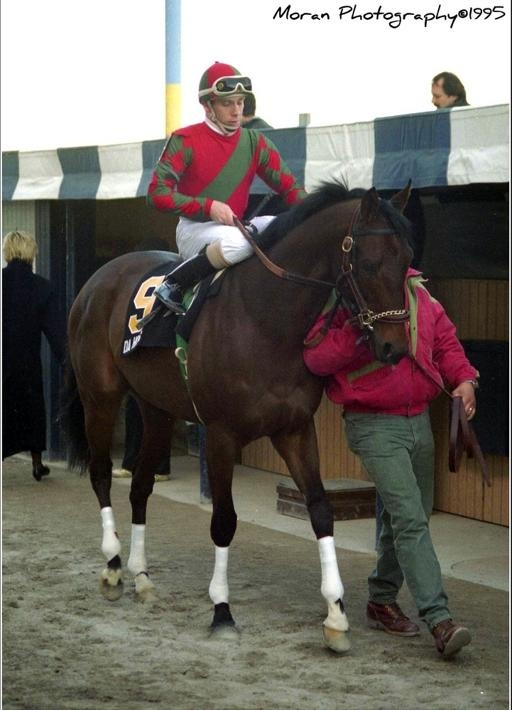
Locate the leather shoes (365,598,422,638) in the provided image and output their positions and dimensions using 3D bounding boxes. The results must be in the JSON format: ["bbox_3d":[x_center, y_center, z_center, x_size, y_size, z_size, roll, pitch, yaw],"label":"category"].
[{"bbox_3d":[0.519,1.022,3.156,0.217,0.097,0.081,4,5,43],"label":"leather shoes"}]

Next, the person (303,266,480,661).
[{"bbox_3d":[0.478,0.373,2.885,0.592,1.380,0.650,0,1,13],"label":"person"}]

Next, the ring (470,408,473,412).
[{"bbox_3d":[0.731,0.185,2.753,0.012,0.010,0.003,0,-3,-14],"label":"ring"}]

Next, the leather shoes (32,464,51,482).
[{"bbox_3d":[-1.714,0.957,6.520,0.086,0.085,0.209,0,-25,-7],"label":"leather shoes"}]

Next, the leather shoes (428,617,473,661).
[{"bbox_3d":[0.631,0.936,2.671,0.079,0.090,0.201,-25,-18,-25],"label":"leather shoes"}]

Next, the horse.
[{"bbox_3d":[-0.155,0.214,3.497,0.699,1.672,2.628,-2,5,-30],"label":"horse"}]

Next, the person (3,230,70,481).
[{"bbox_3d":[-1.756,0.024,6.451,0.469,1.954,0.511,0,1,-15],"label":"person"}]

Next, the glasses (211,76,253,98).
[{"bbox_3d":[-0.084,-1.068,3.217,0.167,0.075,0.076,0,0,-19],"label":"glasses"}]

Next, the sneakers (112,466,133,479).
[{"bbox_3d":[-1.104,0.954,6.607,0.258,0.086,0.081,7,1,12],"label":"sneakers"}]
